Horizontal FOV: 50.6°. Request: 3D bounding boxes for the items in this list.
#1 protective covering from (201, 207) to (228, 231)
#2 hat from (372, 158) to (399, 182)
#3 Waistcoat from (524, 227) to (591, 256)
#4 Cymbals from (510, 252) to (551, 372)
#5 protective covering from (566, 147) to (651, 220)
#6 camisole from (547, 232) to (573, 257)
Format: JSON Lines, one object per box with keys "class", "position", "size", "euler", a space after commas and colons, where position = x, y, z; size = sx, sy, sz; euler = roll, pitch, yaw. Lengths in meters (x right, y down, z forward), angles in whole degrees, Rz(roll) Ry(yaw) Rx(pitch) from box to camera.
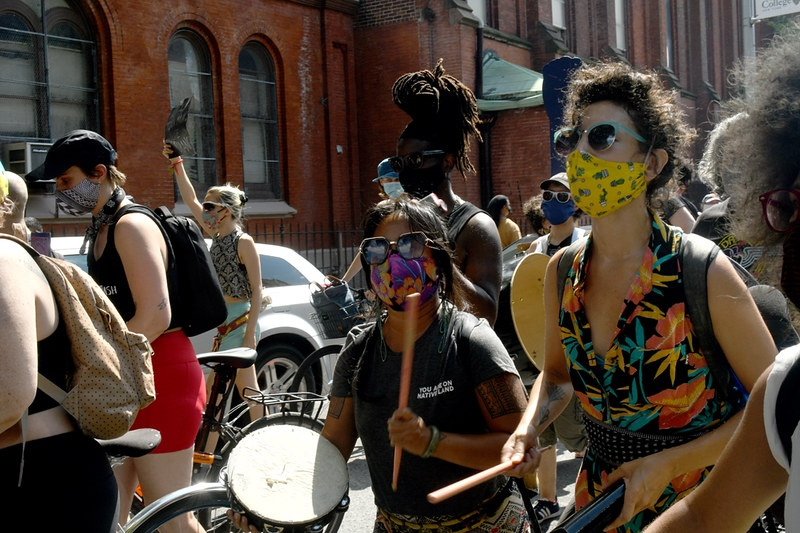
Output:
{"class": "protective covering", "position": [-1.697, -0.438, 7.725], "size": [0.191, 0.143, 0.169], "euler": [-5, 7, -29]}
{"class": "hat", "position": [-0.092, -0.694, 6.759], "size": [0.274, 0.163, 0.298], "euler": [-3, -11, -3]}
{"class": "Waistcoat", "position": [1.355, -0.199, 7.427], "size": [0.390, 0.213, 0.416], "euler": [-2, 18, 16]}
{"class": "Cymbals", "position": [0.934, 0.302, 6.036], "size": [0.144, 0.663, 0.629], "euler": [-1, 7, 39]}
{"class": "protective covering", "position": [0.966, -0.383, 3.888], "size": [0.231, 0.382, 0.306], "euler": [-1, 2, 7]}
{"class": "camisole", "position": [1.221, -0.174, 6.465], "size": [0.125, 0.209, 0.174], "euler": [-4, -18, -9]}
